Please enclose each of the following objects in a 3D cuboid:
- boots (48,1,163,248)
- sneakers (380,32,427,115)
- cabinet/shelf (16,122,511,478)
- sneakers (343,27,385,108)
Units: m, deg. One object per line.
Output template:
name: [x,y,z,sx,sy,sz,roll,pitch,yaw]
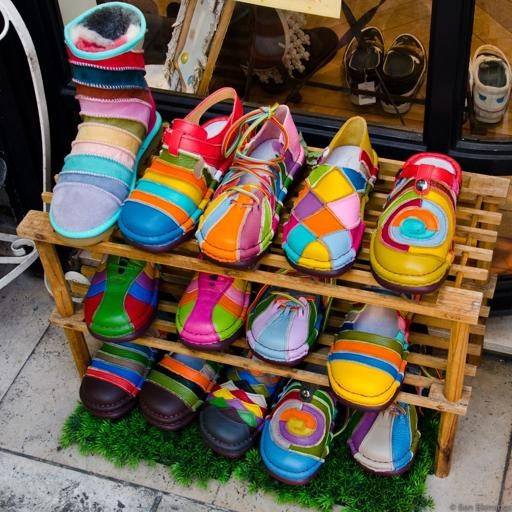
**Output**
boots: [-0.374,-0.330,1.021,0.225,0.420,0.486,2,39,-2]
sneakers: [0.420,-0.515,1.228,0.094,0.184,0.072,15,15,26]
cabinet/shelf: [0.214,0.339,1.634,1.542,0.769,0.850,12,52,12]
sneakers: [0.321,-0.546,1.250,0.079,0.205,0.081,5,7,13]
